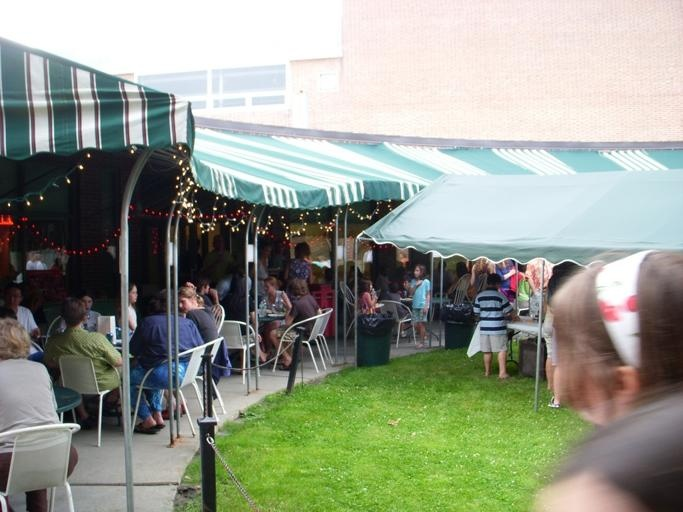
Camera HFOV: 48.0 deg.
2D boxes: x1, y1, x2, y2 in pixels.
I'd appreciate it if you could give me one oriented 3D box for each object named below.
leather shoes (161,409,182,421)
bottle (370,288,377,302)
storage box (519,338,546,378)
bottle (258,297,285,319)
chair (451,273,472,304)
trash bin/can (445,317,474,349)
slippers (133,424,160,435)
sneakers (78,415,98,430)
[{"bbox_3d":[-1.815,1.691,8.168,0.280,0.128,0.108,2,-3,8],"label":"leather shoes"},{"bbox_3d":[0.533,0.658,12.810,0.135,0.203,0.082,-6,-4,-26],"label":"bottle"},{"bbox_3d":[2.474,1.351,10.095,0.405,0.654,0.426,-2,-6,32],"label":"storage box"},{"bbox_3d":[-0.987,0.734,10.725,0.268,0.288,0.284,-2,-8,15],"label":"bottle"},{"bbox_3d":[2.352,0.667,15.049,0.436,0.654,0.451,-7,10,-38],"label":"chair"},{"bbox_3d":[1.894,1.264,12.385,0.390,0.590,0.557,0,0,15],"label":"trash bin/can"},{"bbox_3d":[-1.949,1.740,7.651,0.248,0.088,0.098,5,-4,-4],"label":"slippers"},{"bbox_3d":[-2.554,1.673,7.693,0.297,0.133,0.117,1,2,-6],"label":"sneakers"}]
